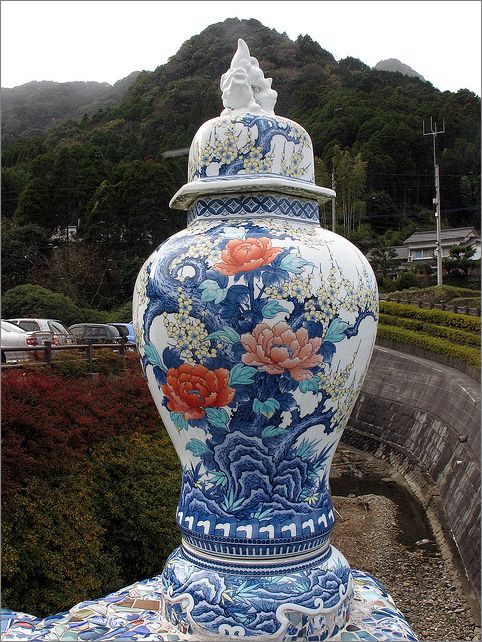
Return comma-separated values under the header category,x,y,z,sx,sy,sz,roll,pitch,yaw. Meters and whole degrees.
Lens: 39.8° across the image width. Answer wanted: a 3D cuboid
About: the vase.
category,x,y,z,sx,sy,sz,roll,pitch,yaw
vase,0.043,-0.110,2.177,0.638,1.722,0.604,6,11,37
